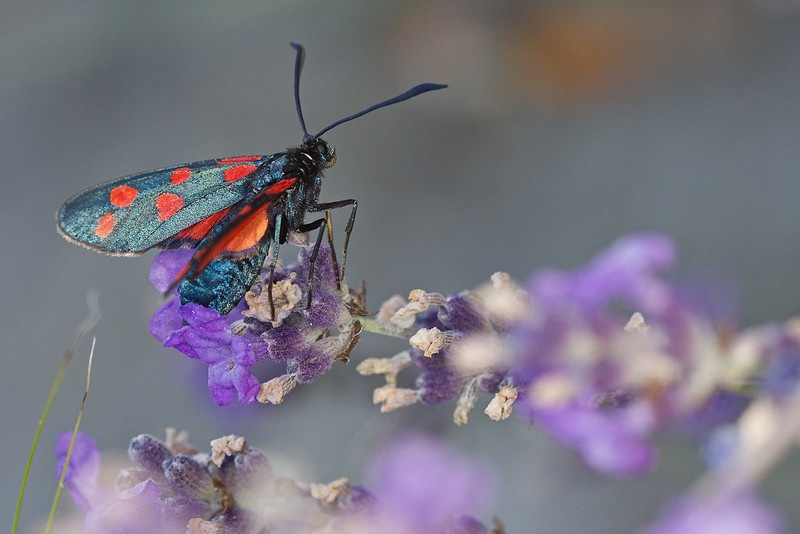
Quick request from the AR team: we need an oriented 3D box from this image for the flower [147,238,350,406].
[{"bbox_3d":[-0.362,0.180,2.543,0.456,0.141,0.462,-26,68,-14],"label":"flower"}]
